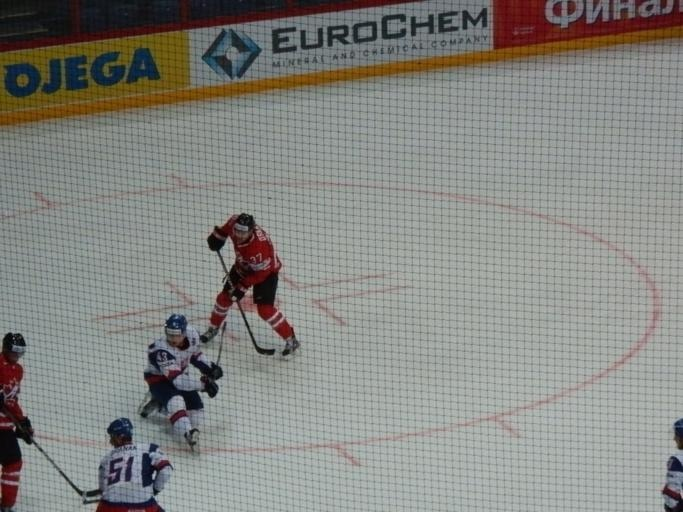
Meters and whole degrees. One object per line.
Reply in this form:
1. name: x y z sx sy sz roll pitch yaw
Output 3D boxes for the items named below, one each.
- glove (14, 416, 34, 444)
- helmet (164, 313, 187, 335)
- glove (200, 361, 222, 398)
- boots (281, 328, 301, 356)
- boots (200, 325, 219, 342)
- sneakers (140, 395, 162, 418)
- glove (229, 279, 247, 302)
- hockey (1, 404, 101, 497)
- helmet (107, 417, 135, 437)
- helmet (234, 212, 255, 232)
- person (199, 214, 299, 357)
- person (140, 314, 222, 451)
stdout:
1. glove: -2.688 1.488 9.700 0.177 0.212 0.076 -11 21 30
2. helmet: -1.504 0.618 10.289 0.191 0.155 0.196 6 16 -4
3. glove: -1.207 1.133 10.507 0.160 0.290 0.214 2 -43 -23
4. boots: -0.507 0.860 11.304 0.189 0.209 0.198 -3 -2 -3
5. boots: -1.335 0.795 11.535 0.193 0.063 0.123 -30 -20 -44
6. sneakers: -1.764 1.399 10.521 0.251 0.146 0.063 -34 -25 -17
7. glove: -1.035 0.344 11.289 0.181 0.075 0.225 28 12 -3
8. hockey: -2.573 1.749 10.001 0.168 1.155 0.134 -52 -2 38
9. helmet: -1.782 1.377 9.180 0.237 0.147 0.159 -5 7 -9
10. helmet: -0.946 -0.331 11.197 0.171 0.171 0.195 11 30 6
11. person: -0.967 0.368 11.781 0.954 1.343 0.794 35 44 27
12. person: -1.454 1.168 10.405 0.641 1.159 1.466 -6 18 -25
